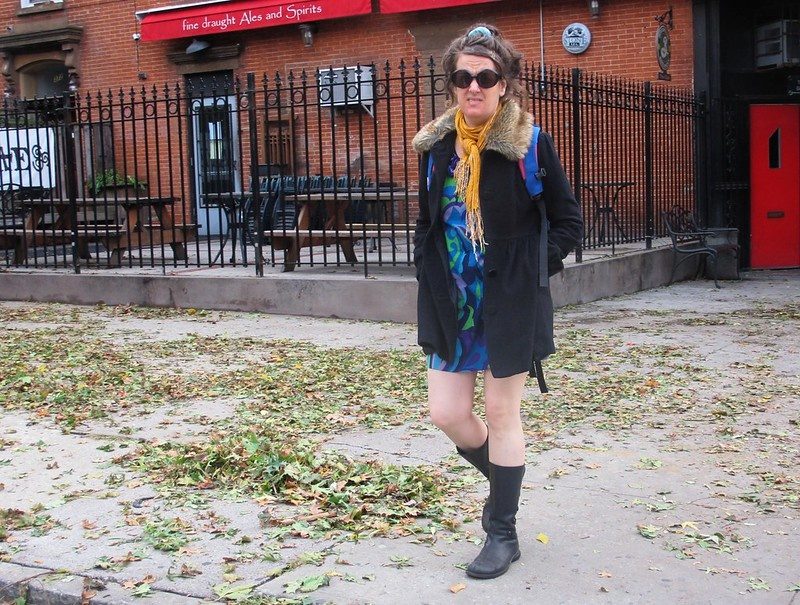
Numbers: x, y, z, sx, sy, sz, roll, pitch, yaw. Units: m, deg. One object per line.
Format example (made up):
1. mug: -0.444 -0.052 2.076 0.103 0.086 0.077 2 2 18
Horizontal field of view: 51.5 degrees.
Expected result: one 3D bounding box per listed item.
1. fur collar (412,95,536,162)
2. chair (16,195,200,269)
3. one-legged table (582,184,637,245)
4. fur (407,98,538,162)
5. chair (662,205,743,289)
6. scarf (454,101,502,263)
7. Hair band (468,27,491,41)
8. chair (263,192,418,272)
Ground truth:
1. fur collar: 0.349 -0.747 3.732 0.401 0.152 0.338 3 18 44
2. chair: -4.752 -1.104 12.807 2.805 1.161 4.335 -5 10 -21
3. one-legged table: 2.945 -1.338 11.968 0.638 0.639 0.621 0 -3 -29
4. fur: 0.351 -0.746 3.736 0.398 0.151 0.338 3 19 44
5. chair: 4.676 -0.929 12.891 1.006 1.190 1.784 4 11 28
6. scarf: 0.336 -0.555 3.703 0.201 0.636 0.240 1 10 16
7. Hair band: 0.363 -1.218 3.736 0.087 0.027 0.093 9 38 15
8. chair: -1.033 -1.033 11.400 1.580 0.644 1.584 2 6 5
